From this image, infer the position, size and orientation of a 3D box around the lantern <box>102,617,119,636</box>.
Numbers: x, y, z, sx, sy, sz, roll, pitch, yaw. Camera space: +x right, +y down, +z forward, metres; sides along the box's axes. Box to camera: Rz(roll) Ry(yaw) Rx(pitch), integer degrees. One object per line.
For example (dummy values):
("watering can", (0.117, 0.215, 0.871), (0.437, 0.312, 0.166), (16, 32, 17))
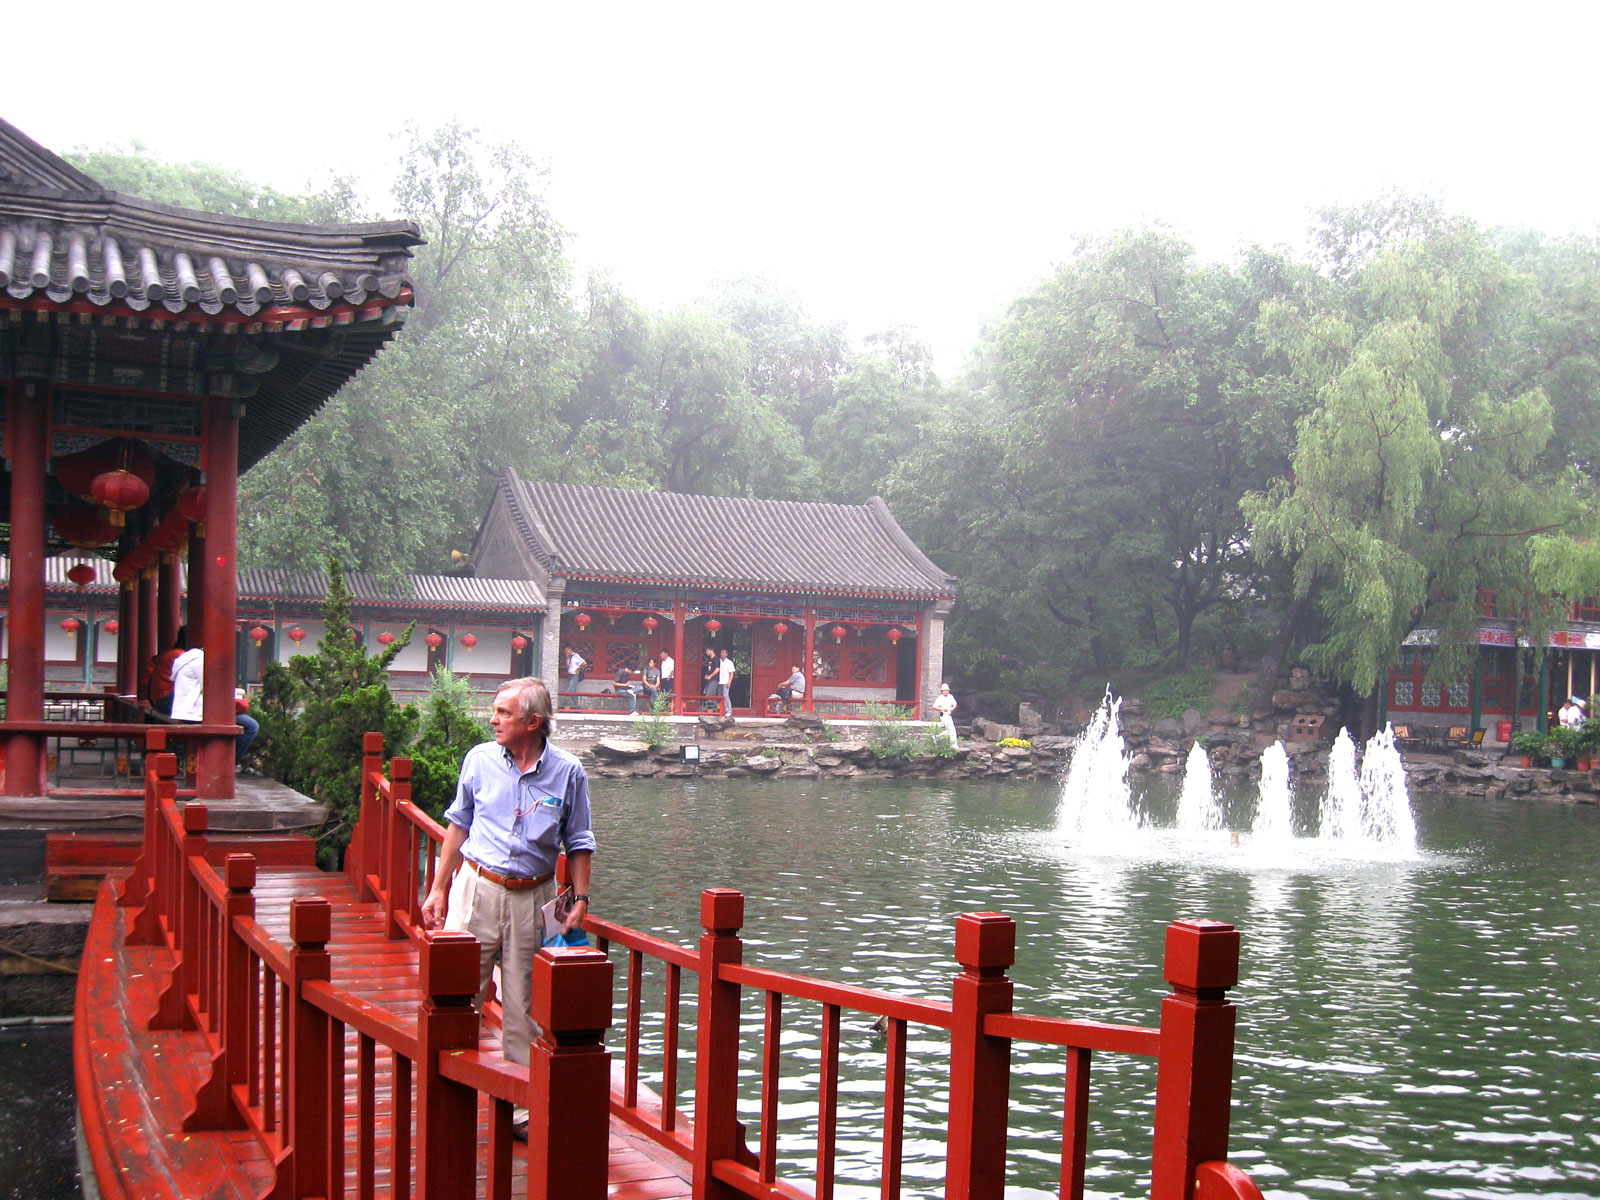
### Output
("lantern", (-11.711, 0.424, 27.861), (0.200, 0.270, 1.656), (4, -5, -28))

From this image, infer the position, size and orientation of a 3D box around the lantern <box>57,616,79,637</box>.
("lantern", (-11.878, 0.451, 26.728), (0.306, 0.407, 0.336), (-1, -3, -19))

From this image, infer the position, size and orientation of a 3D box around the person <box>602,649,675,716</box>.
("person", (-3.102, 1.719, 32.345), (0.785, 0.965, 1.577), (2, -9, -13))

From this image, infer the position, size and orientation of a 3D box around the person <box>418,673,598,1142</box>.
("person", (-1.319, 1.216, 7.409), (0.867, 1.711, 0.552), (-2, -5, 45))

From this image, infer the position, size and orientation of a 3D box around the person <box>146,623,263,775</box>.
("person", (-4.891, 0.751, 13.596), (0.827, 1.577, 0.639), (-8, 27, -31))

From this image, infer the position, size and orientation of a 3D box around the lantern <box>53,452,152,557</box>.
("lantern", (-5.287, -0.738, 12.461), (0.560, 1.062, 0.574), (0, 2, -24))
